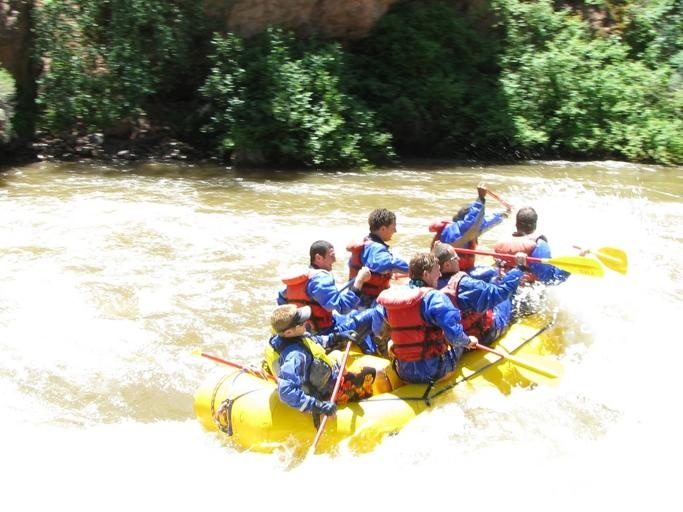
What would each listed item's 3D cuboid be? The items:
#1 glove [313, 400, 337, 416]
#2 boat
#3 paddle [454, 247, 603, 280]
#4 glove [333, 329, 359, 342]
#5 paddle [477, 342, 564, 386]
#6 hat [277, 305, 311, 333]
[{"bbox_3d":[-0.153,1.412,6.899,0.162,0.140,0.159,11,15,23],"label":"glove"},{"bbox_3d":[0.532,1.313,7.323,2.678,0.417,1.519,-12,14,-32],"label":"boat"},{"bbox_3d":[2.094,0.090,8.209,1.779,0.156,0.220,6,-17,8],"label":"paddle"},{"bbox_3d":[0.042,0.836,7.756,0.238,0.071,0.123,-2,-3,7],"label":"glove"},{"bbox_3d":[1.871,1.096,7.462,1.266,0.266,0.052,15,-5,0],"label":"paddle"},{"bbox_3d":[-0.489,0.569,6.914,0.346,0.161,0.202,-30,32,-3],"label":"hat"}]
